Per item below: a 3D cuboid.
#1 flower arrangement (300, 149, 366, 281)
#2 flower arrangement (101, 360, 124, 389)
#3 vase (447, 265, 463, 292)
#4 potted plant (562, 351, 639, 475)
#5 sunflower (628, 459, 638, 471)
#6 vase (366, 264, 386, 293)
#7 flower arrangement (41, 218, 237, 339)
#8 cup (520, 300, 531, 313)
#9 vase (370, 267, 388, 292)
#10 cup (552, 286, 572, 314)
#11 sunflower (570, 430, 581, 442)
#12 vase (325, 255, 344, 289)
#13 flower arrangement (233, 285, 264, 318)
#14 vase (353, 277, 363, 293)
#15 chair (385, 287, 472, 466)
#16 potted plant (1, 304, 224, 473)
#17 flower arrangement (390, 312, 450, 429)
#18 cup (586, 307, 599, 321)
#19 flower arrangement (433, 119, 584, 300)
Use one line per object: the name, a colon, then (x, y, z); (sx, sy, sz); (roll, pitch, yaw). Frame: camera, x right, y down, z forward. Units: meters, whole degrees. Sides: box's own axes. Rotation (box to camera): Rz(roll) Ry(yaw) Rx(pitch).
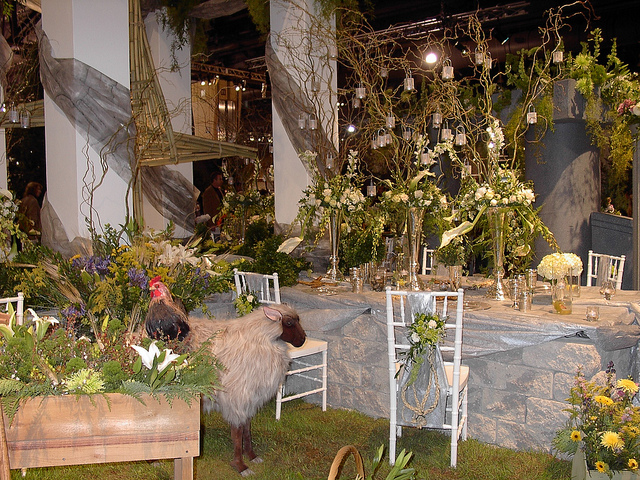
flower arrangement: (0.100, -0.208, 4.852); (0.563, 1.110, 0.466); (1, 7, 11)
flower arrangement: (-0.806, 0.518, 2.216); (0.085, 0.095, 0.114); (9, 38, -31)
vase: (1.014, 0.287, 4.303); (0.148, 0.261, 0.161); (-3, -8, 15)
potted plant: (1.602, 1.030, 3.272); (0.376, 0.721, 0.656); (3, 8, 25)
sunflower: (1.611, 1.157, 2.938); (0.048, 0.056, 0.019); (-2, 7, -11)
vase: (0.441, 0.319, 4.614); (0.160, 0.208, 0.517); (0, 2, 5)
flower arrangement: (-1.131, 0.246, 3.779); (0.859, 0.618, 0.836); (12, 18, -13)
cup: (1.356, 0.436, 3.773); (0.064, 0.084, 0.069); (0, 0, 0)
vase: (0.462, 0.316, 4.571); (0.159, 0.227, 0.567); (0, -1, 4)
cup: (1.592, 0.383, 3.746); (0.118, 0.175, 0.157); (2, 8, 22)
sunflower: (1.425, 1.093, 3.190); (0.054, 0.054, 0.019); (-37, 10, 10)
vase: (0.116, 0.276, 4.833); (0.206, 0.258, 0.217); (0, 2, -18)
flower arrangement: (-0.569, 0.441, 4.331); (0.220, 0.221, 0.203); (-11, 5, -32)
vase: (0.293, 0.355, 4.472); (0.083, 0.110, 0.091); (0, -5, 9)
chair: (0.691, 0.811, 3.640); (0.535, 1.129, 0.626); (1, 8, 16)
potted plant: (-0.822, 0.585, 2.377); (0.816, 0.427, 0.878); (3, 2, -9)
flower arrangement: (0.604, 0.770, 3.386); (0.253, 0.686, 0.094); (0, 7, 8)
cup: (1.694, 0.461, 3.554); (0.066, 0.088, 0.072); (0, -4, 6)
flower arrangement: (1.340, -0.234, 4.160); (0.745, 1.181, 0.926); (-8, 4, -17)
